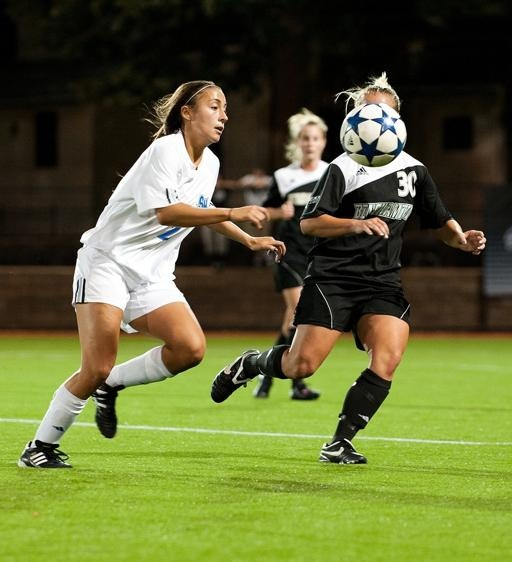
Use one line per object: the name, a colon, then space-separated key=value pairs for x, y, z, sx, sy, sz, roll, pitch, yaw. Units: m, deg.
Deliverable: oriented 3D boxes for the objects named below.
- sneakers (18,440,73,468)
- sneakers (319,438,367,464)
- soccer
sneakers: x=-1.000 y=0.898 z=4.056 sx=0.390 sy=0.108 sz=0.111 roll=2 pitch=-1 yaw=7
sneakers: x=0.456 y=0.940 z=4.313 sx=0.307 sy=0.092 sz=0.114 roll=0 pitch=-5 yaw=22
soccer: x=0.548 y=-0.761 z=4.277 sx=0.498 sy=0.307 sz=0.376 roll=-3 pitch=-10 yaw=1
